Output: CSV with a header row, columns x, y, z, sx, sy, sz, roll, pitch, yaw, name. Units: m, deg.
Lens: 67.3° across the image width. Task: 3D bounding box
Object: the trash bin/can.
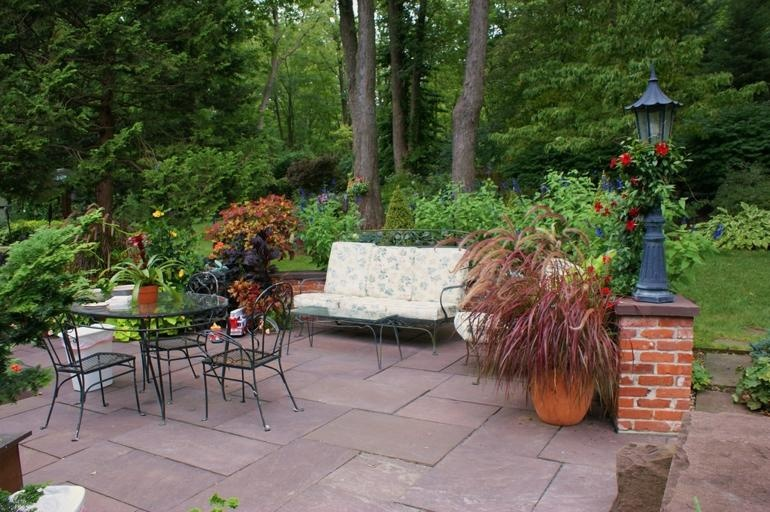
x,y,z,sx,sy,sz,roll,pitch,yaw,name
-3.196,1.097,6.322,0.484,0.821,0.893,-8,8,-28,trash bin/can
